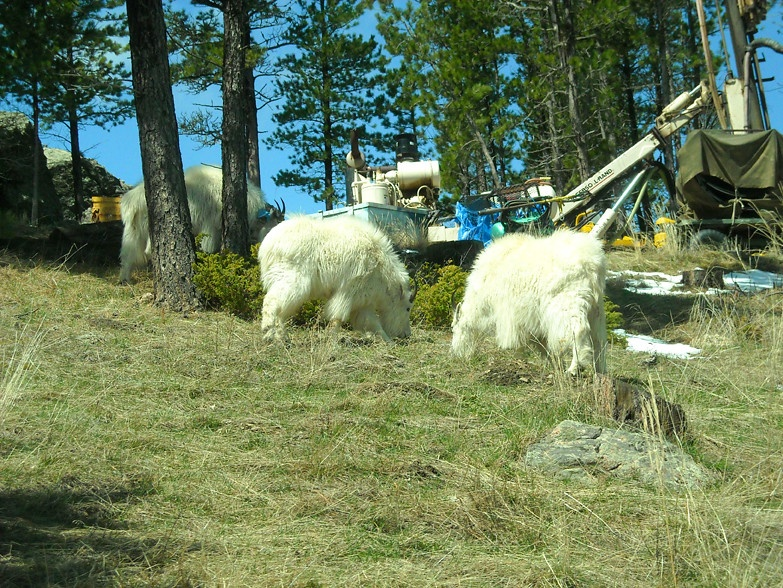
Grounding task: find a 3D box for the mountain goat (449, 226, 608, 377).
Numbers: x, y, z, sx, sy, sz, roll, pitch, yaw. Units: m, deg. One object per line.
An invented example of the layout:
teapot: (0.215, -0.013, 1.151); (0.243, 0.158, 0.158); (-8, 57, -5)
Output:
mountain goat: (1.594, 0.094, 11.069); (1.647, 1.575, 0.546); (-2, -1, 26)
